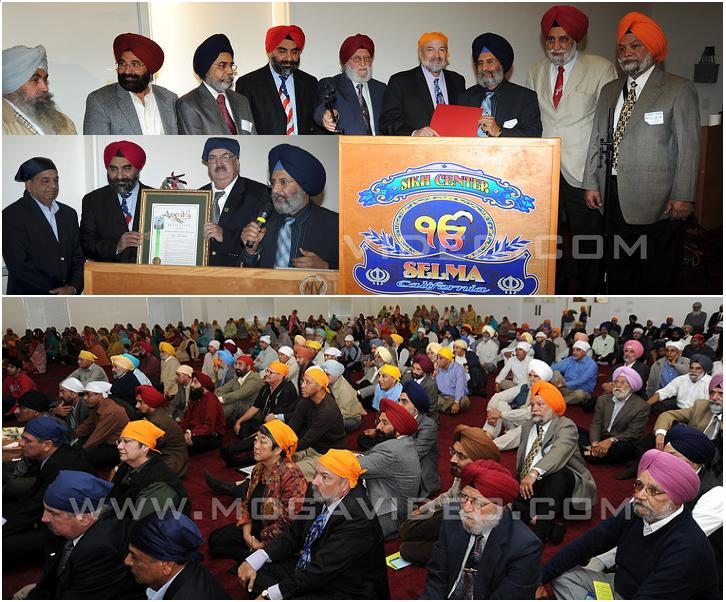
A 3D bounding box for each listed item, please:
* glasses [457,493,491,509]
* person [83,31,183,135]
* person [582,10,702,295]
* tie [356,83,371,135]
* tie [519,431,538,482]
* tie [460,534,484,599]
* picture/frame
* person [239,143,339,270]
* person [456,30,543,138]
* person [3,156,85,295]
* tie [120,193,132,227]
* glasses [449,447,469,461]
[{"bbox_3d":[0.635,1.124,2.880,0.120,0.042,0.114,10,-5,-39],"label":"glasses"},{"bbox_3d":[-1.943,-1.746,4.380,0.796,0.956,0.490,-9,16,-32],"label":"person"},{"bbox_3d":[2.226,-1.189,4.159,0.846,2.254,0.292,2,3,8],"label":"person"},{"bbox_3d":[0.011,-1.685,4.451,0.060,0.459,0.163,-1,4,-42],"label":"tie"},{"bbox_3d":[1.374,1.282,4.197,0.182,0.396,0.160,-1,4,-31],"label":"tie"},{"bbox_3d":[0.614,1.509,2.895,0.117,0.344,0.085,3,3,24],"label":"tie"},{"bbox_3d":[-1.341,-0.500,3.580,0.530,0.701,0.050,0,-18,-4],"label":"picture/frame"},{"bbox_3d":[-0.536,-0.574,3.767,0.715,1.100,0.639,1,-4,5],"label":"person"},{"bbox_3d":[1.101,-1.758,4.359,0.788,1.001,0.598,19,44,39],"label":"person"},{"bbox_3d":[-2.457,-0.545,3.857,0.721,1.010,0.378,2,3,5],"label":"person"},{"bbox_3d":[-1.674,-0.641,3.603,0.077,0.277,0.069,-3,-29,-18],"label":"tie"},{"bbox_3d":[0.666,1.073,3.571,0.095,0.031,0.093,10,1,-18],"label":"glasses"}]
